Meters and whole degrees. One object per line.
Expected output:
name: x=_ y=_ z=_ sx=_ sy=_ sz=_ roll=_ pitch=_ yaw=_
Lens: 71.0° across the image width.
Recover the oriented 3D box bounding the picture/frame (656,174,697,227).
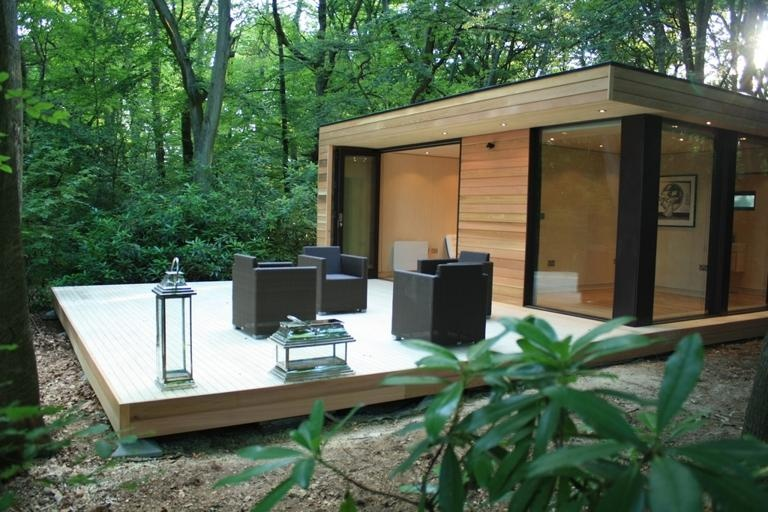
picture/frame: x=3.955 y=-0.762 z=7.321 sx=0.887 sy=0.789 sz=0.064 roll=1 pitch=0 yaw=-37

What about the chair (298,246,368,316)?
chair: x=-0.770 y=0.337 z=7.900 sx=0.793 sy=0.870 sz=0.933 roll=-1 pitch=6 yaw=-26

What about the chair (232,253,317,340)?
chair: x=-1.328 y=0.446 z=6.563 sx=0.888 sy=0.822 sz=0.934 roll=-1 pitch=4 yaw=-37

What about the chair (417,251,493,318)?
chair: x=0.990 y=0.369 z=7.450 sx=0.848 sy=0.733 sz=0.751 roll=-3 pitch=8 yaw=-15

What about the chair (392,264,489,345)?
chair: x=0.654 y=0.539 z=6.178 sx=1.022 sy=0.796 sz=1.006 roll=2 pitch=0 yaw=35
